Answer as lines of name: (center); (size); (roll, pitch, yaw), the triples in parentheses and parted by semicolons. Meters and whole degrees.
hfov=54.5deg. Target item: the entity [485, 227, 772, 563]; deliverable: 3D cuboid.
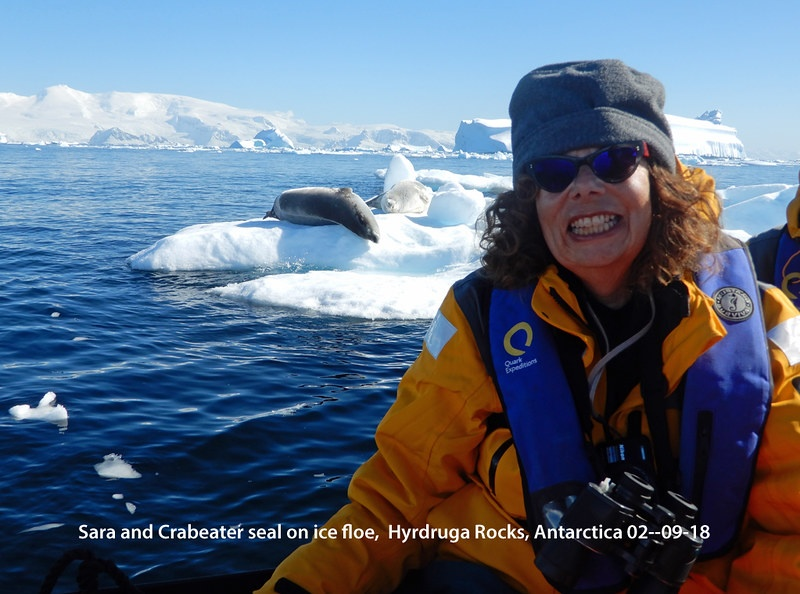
entity: (0.965, 0.450, 3.350); (1.259, 1.086, 0.463); (-2, -10, 4)

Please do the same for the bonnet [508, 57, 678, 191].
bonnet: (0.859, -0.747, 3.517); (0.832, 0.355, 0.708); (-2, -5, -26)
